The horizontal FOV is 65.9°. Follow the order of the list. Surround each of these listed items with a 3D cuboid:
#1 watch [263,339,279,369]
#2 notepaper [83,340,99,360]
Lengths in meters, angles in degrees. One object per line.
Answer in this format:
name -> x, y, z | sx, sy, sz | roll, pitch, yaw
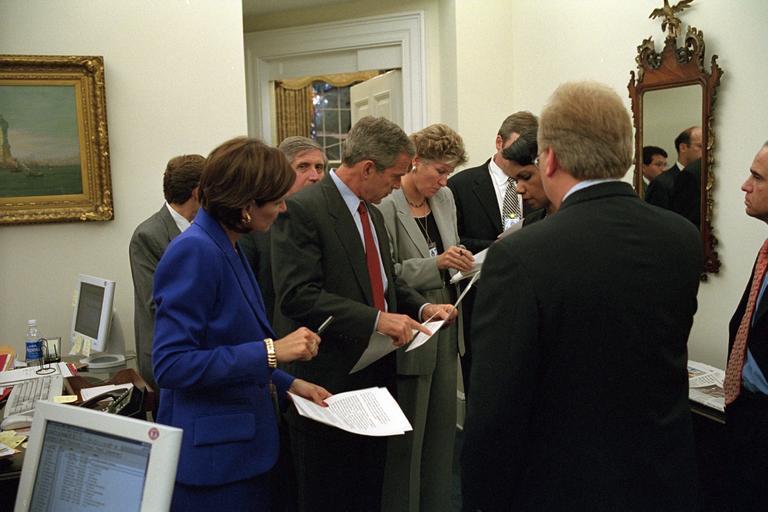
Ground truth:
watch -> -0.418, 0.362, 2.209 | 0.056, 0.095, 0.096 | -7, -34, -8
notepaper -> -1.885, 0.601, 3.795 | 0.157, 0.160, 0.028 | 0, -5, 37
